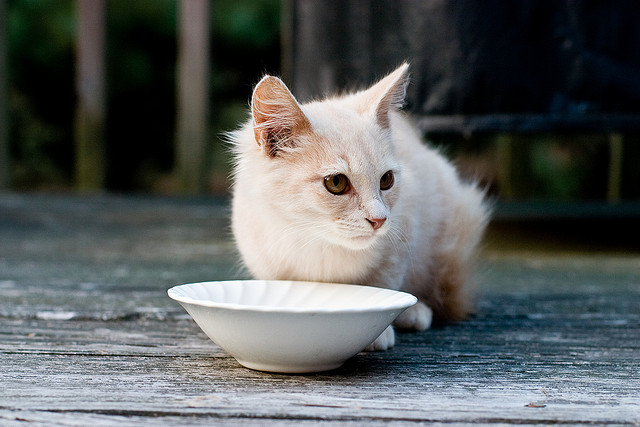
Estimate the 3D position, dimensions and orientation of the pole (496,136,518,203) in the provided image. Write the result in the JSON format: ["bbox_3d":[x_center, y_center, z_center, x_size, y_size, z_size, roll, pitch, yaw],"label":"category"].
[{"bbox_3d":[1.414,-0.369,6.940,0.153,0.559,0.239,-4,18,0],"label":"pole"}]
